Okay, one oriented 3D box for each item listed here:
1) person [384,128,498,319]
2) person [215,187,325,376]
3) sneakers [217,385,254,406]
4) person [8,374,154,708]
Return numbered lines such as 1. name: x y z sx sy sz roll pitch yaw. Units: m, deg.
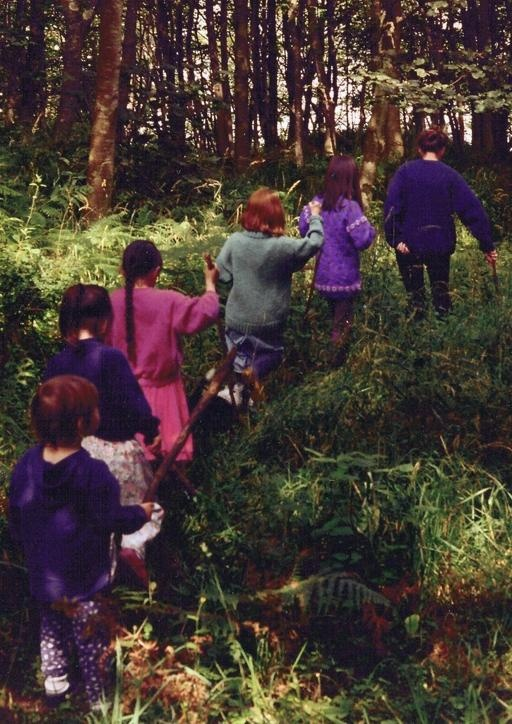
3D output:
1. person: 1.425 -0.973 5.922 0.771 1.774 0.407 6 36 21
2. person: 0.048 -0.378 4.906 0.605 1.461 0.395 10 22 8
3. sneakers: -0.130 0.219 4.733 0.098 0.082 0.238 22 16 27
4. person: -0.701 0.733 2.974 0.521 1.367 0.367 -1 3 -22
